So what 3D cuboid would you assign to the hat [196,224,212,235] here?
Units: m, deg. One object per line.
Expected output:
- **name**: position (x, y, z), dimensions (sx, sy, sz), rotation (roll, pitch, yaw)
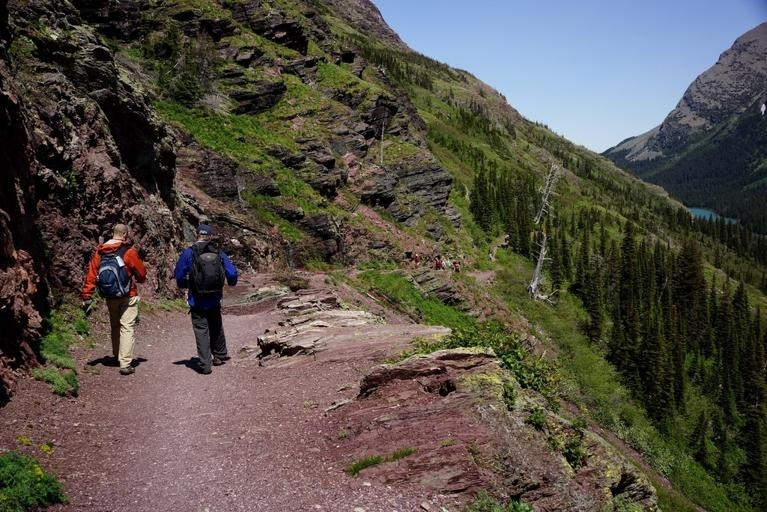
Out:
- **hat**: position (-8.828, -1.279, 33.378), dimensions (0.609, 0.381, 0.567), rotation (6, 2, -9)
